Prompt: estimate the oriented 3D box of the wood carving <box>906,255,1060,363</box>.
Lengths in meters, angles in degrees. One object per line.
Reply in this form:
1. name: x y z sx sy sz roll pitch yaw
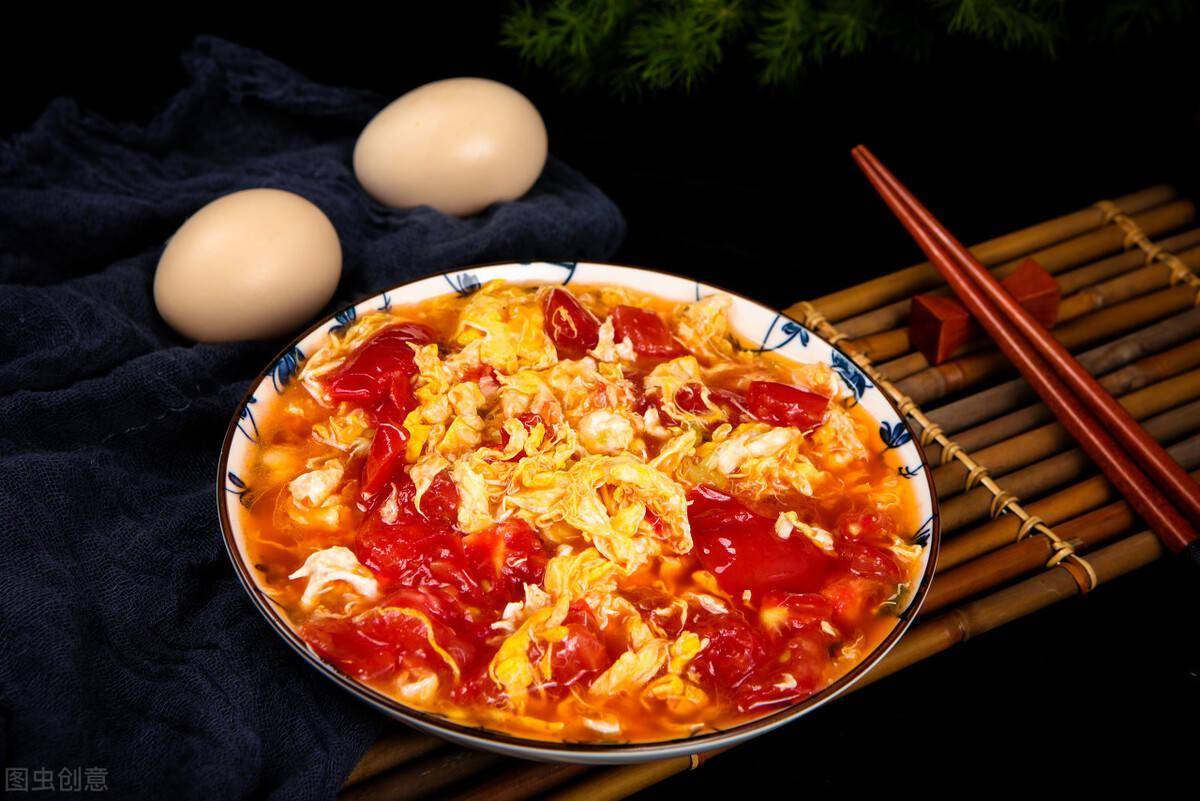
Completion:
1. wood carving: 1.130 -0.275 3.309 0.400 0.177 0.160 -20 41 -12
